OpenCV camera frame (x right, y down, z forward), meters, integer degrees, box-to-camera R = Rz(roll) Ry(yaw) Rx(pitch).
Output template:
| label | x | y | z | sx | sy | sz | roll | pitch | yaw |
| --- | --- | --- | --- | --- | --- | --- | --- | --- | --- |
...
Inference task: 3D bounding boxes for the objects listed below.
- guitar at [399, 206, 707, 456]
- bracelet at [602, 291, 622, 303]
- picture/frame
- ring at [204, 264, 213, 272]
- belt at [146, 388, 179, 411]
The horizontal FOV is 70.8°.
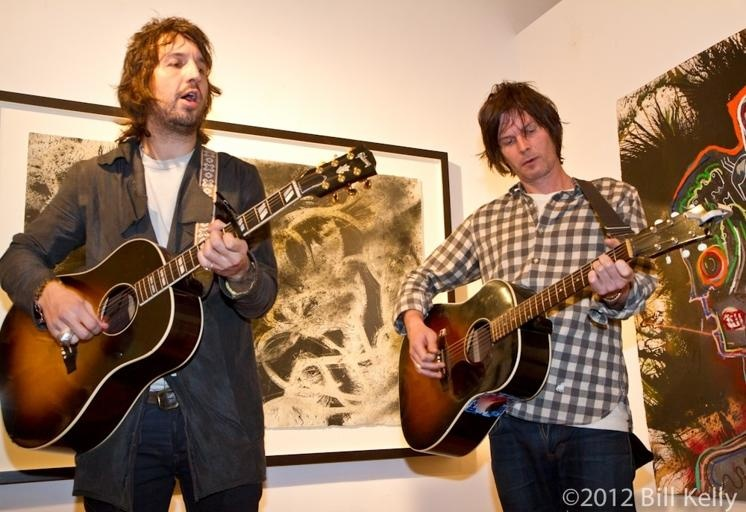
| label | x | y | z | sx | sy | sz | roll | pitch | yaw |
| --- | --- | --- | --- | --- | --- | --- | --- | --- | --- |
| guitar | 0.663 | 0.271 | 2.140 | 0.178 | 0.644 | 1.432 | 30 | -54 | -27 |
| bracelet | 0.885 | 0.150 | 1.941 | 0.069 | 0.039 | 0.086 | 4 | -2 | 24 |
| picture/frame | -0.669 | 0.188 | 2.341 | 2.347 | 1.629 | 0.057 | 3 | -16 | -30 |
| ring | -0.571 | 0.041 | 1.806 | 0.039 | 0.012 | 0.029 | 10 | -15 | 13 |
| belt | -0.723 | 0.491 | 1.807 | 0.081 | 0.083 | 0.025 | 1 | -6 | -1 |
